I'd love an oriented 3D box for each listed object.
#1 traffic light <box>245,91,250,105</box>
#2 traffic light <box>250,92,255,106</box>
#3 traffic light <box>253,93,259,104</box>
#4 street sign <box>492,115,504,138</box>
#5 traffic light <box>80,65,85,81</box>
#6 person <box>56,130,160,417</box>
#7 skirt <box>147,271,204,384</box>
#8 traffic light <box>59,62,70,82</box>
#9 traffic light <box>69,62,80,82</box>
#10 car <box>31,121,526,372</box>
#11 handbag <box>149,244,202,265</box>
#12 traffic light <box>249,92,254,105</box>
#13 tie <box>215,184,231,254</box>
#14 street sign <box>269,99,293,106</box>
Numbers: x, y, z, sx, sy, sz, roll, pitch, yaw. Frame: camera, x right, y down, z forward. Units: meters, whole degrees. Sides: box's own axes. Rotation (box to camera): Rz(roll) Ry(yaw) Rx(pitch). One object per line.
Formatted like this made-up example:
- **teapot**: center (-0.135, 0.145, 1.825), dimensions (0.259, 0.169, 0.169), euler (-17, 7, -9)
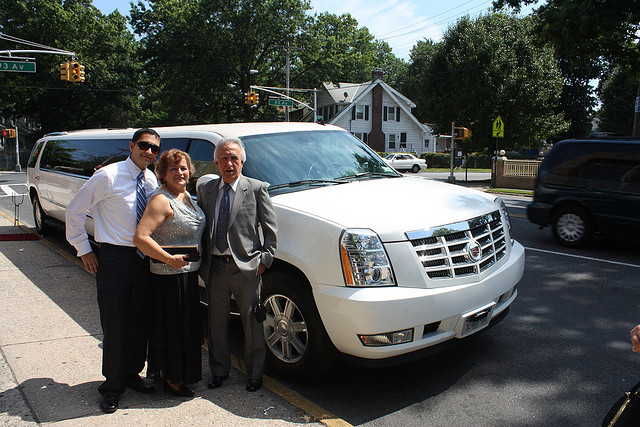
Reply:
- **traffic light**: center (-5.000, -8.037, 31.173), dimensions (0.160, 0.633, 0.530), euler (-4, 15, -21)
- **traffic light**: center (-4.662, -7.958, 30.943), dimensions (0.252, 0.753, 0.559), euler (-11, 18, -40)
- **traffic light**: center (-4.441, -7.900, 30.818), dimensions (0.281, 0.713, 0.466), euler (-3, 15, -16)
- **street sign**: center (9.757, -4.799, 24.769), dimensions (0.463, 1.123, 1.249), euler (5, 15, 15)
- **traffic light**: center (-11.554, -6.835, 21.853), dimensions (0.148, 0.643, 0.635), euler (-3, 15, -18)
- **person**: center (-1.905, 0.525, 4.424), dimensions (0.842, 2.591, 0.794), euler (-6, 16, -28)
- **skirt**: center (-1.442, 1.167, 4.521), dimensions (0.490, 1.166, 0.341), euler (-3, 14, -16)
- **traffic light**: center (-12.199, -6.859, 21.558), dimensions (0.365, 0.788, 0.691), euler (-8, 17, -34)
- **traffic light**: center (-11.776, -6.847, 21.593), dimensions (0.467, 0.825, 0.311), euler (-7, 16, -32)
- **car**: center (-0.914, 0.134, 6.597), dimensions (6.452, 2.159, 3.352), euler (3, 7, 43)
- **handbag**: center (-1.356, 0.372, 4.434), dimensions (0.402, 0.171, 0.191), euler (-4, 15, -22)
- **traffic light**: center (-4.693, -7.976, 30.943), dimensions (0.500, 0.716, 0.219), euler (13, 18, 40)
- **tie**: center (-0.972, 0.047, 4.556), dimensions (0.138, 0.662, 0.206), euler (4, 14, 12)
- **street sign**: center (-2.797, -7.796, 31.527), dimensions (1.530, 0.418, 1.172), euler (-1, 14, -9)
